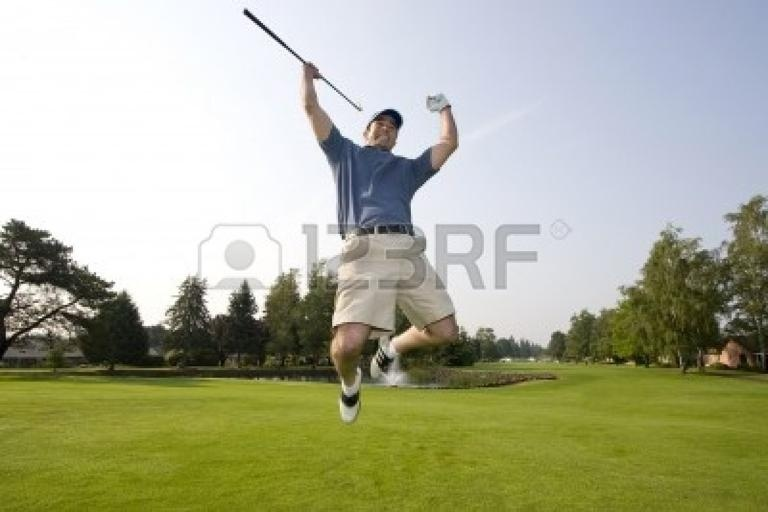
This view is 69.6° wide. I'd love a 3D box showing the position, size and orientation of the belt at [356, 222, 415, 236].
[{"bbox_3d":[0.024,-0.356,7.501,0.802,0.170,0.119,1,-9,-6],"label":"belt"}]
